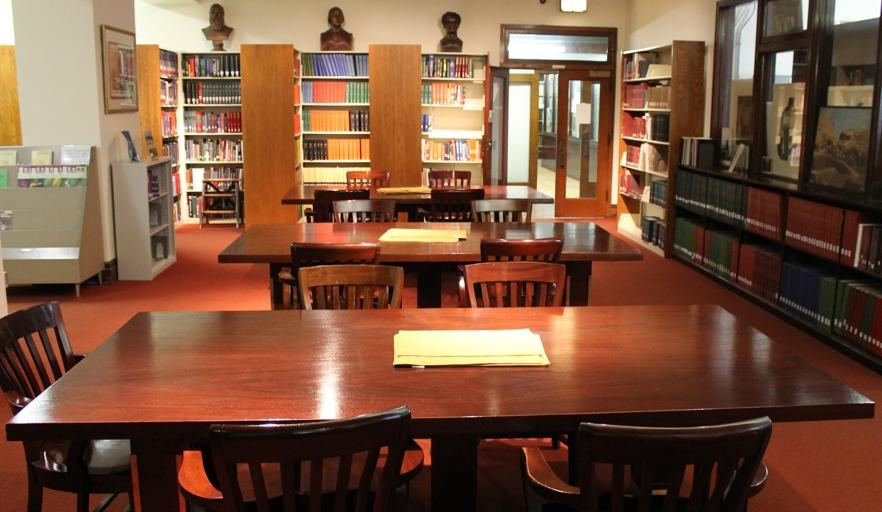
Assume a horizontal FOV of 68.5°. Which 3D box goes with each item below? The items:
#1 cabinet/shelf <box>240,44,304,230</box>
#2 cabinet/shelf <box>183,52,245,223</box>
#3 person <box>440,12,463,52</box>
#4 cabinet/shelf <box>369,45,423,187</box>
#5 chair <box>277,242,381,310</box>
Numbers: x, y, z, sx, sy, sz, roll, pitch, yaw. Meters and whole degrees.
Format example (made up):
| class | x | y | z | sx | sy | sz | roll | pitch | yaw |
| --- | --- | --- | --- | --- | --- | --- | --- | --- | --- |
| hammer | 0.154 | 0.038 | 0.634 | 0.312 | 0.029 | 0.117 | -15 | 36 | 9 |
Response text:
| class | x | y | z | sx | sy | sz | roll | pitch | yaw |
| --- | --- | --- | --- | --- | --- | --- | --- | --- | --- |
| cabinet/shelf | -2.756 | -1.939 | 10.007 | 0.789 | 3.046 | 1.038 | -8 | 39 | -23 |
| cabinet/shelf | -3.616 | -2.451 | 10.309 | 0.806 | 2.123 | 0.303 | -2 | -15 | -16 |
| person | 0.163 | -3.551 | 10.295 | 0.384 | 0.683 | 0.632 | -2 | 13 | 1 |
| cabinet/shelf | -0.673 | -2.083 | 9.650 | 0.817 | 2.016 | 0.241 | -3 | 14 | -5 |
| chair | -0.811 | 0.031 | 4.571 | 0.596 | 0.727 | 0.547 | -1 | 16 | -8 |
